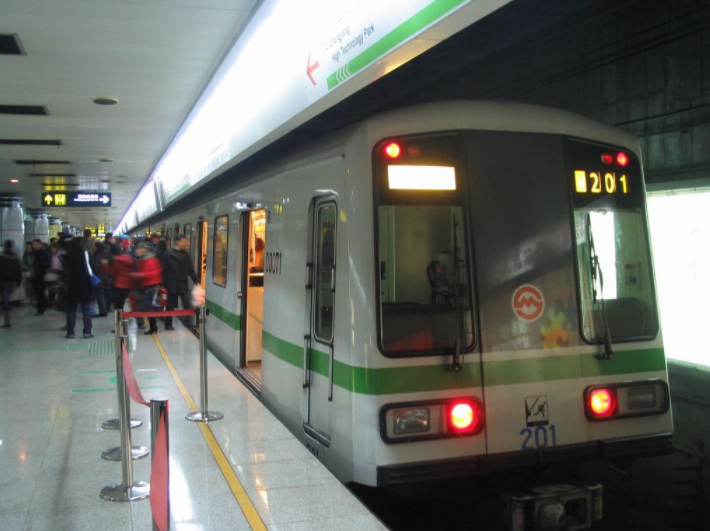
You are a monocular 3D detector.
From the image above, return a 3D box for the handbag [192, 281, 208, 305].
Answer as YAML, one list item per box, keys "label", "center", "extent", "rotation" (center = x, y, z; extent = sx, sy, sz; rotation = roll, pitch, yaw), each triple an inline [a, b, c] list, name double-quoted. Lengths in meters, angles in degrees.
- label: "handbag"
  center: [-3.039, 0.540, 10.856]
  extent: [0.323, 0.659, 0.415]
  rotation: [0, -3, -4]

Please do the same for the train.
- label: "train"
  center: [-0.470, 0.245, 9.875]
  extent: [3.134, 3.770, 11.740]
  rotation: [1, 0, -19]
